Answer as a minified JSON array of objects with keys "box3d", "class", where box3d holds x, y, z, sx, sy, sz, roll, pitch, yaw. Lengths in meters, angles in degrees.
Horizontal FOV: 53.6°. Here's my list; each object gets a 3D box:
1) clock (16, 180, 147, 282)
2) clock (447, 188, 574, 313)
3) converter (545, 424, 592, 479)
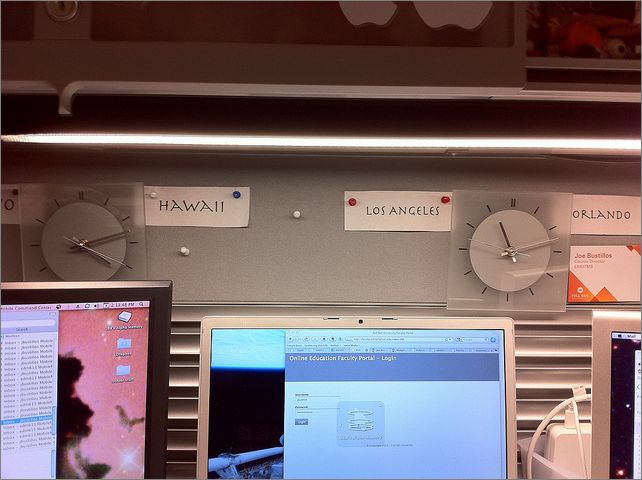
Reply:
[{"box3d":[-0.575,-0.023,1.531,0.300,0.234,0.034,0,-6,-3],"class":"clock"},{"box3d":[0.449,0.023,1.499,0.276,0.315,0.109,0,2,-2],"class":"clock"},{"box3d":[0.548,0.470,1.405,0.123,0.117,0.063,1,0,9],"class":"converter"}]
